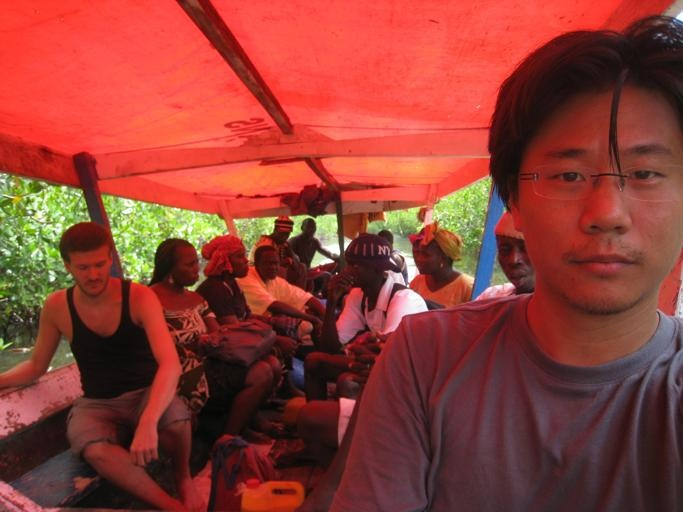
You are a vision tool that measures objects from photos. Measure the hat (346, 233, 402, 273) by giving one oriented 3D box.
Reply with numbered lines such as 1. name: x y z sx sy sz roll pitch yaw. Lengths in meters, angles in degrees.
1. hat: 0.252 -0.025 3.615 0.386 0.196 0.274 16 2 -10

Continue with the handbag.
1. handbag: -0.745 0.665 3.708 0.318 0.155 0.399 6 12 18
